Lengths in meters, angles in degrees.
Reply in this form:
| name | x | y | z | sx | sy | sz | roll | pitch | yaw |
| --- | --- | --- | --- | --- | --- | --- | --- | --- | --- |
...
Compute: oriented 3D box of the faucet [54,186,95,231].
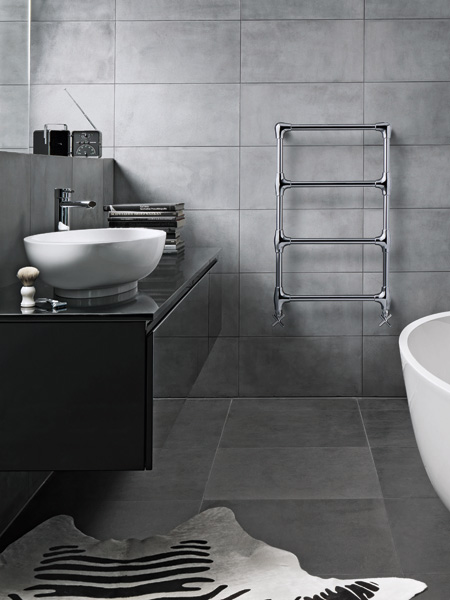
| name | x | y | z | sx | sy | sz | roll | pitch | yaw |
| --- | --- | --- | --- | --- | --- | --- | --- | --- | --- |
| faucet | -0.507 | -0.302 | 1.884 | 0.086 | 0.143 | 0.362 | -3 | 7 | -23 |
